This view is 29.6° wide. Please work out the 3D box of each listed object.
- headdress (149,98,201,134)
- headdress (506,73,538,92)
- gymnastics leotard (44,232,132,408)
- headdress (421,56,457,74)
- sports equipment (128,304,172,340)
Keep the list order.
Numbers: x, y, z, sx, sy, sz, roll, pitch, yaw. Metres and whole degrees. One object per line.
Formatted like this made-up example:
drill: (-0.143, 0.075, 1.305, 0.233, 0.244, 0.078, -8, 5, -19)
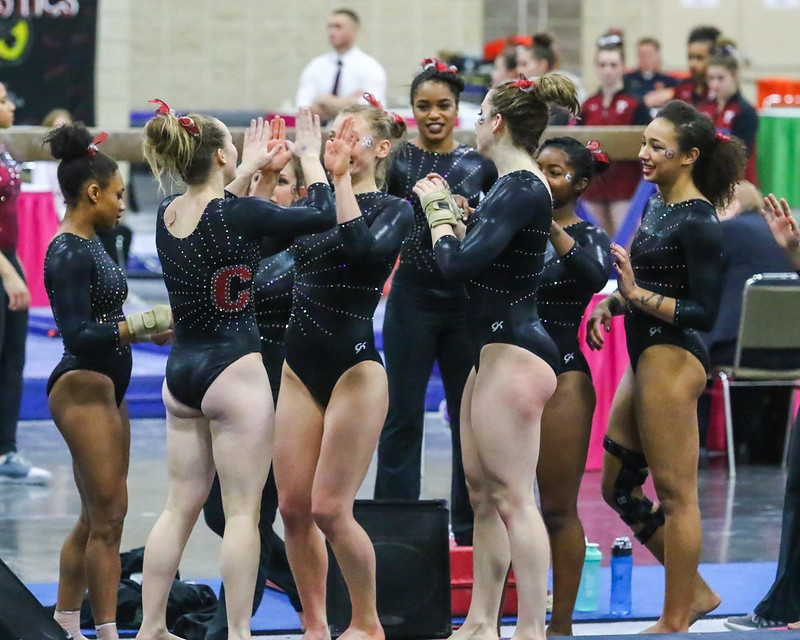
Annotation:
headdress: (-0.995, -0.868, 6.573, 0.161, 0.158, 0.338, -1, 6, -27)
headdress: (0.531, -1.019, 6.526, 0.077, 0.091, 0.039, -3, -34, 11)
gymnastics leotard: (-1.385, -0.049, 7.034, 0.522, 1.028, 0.771, -2, 3, -13)
headdress: (0.189, -1.230, 7.393, 0.132, 0.065, 0.096, 5, 21, -3)
sports equipment: (-1.090, 0.019, 6.651, 0.187, 0.122, 0.084, -7, -17, -9)
